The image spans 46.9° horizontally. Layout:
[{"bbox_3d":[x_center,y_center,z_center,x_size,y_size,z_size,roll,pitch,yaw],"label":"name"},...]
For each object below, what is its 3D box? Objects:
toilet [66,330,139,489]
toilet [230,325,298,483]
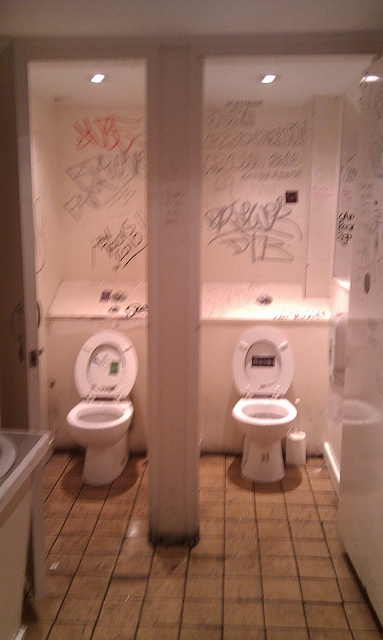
[{"bbox_3d":[-0.370,0.392,1.948,0.323,0.751,0.222,2,9,9],"label":"toilet"},{"bbox_3d":[0.360,0.422,2.234,0.320,0.722,0.381,2,9,9],"label":"toilet"}]
